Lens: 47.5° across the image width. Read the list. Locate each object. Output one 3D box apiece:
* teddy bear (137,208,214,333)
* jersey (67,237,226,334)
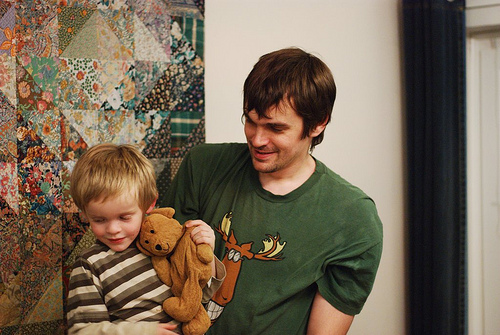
[{"bbox_3d":[-0.382,0.512,2.667,0.410,0.796,0.441,3,-17,-20],"label":"teddy bear"},{"bbox_3d":[-0.527,0.506,2.386,0.468,0.382,0.191,-1,5,-16],"label":"jersey"}]
